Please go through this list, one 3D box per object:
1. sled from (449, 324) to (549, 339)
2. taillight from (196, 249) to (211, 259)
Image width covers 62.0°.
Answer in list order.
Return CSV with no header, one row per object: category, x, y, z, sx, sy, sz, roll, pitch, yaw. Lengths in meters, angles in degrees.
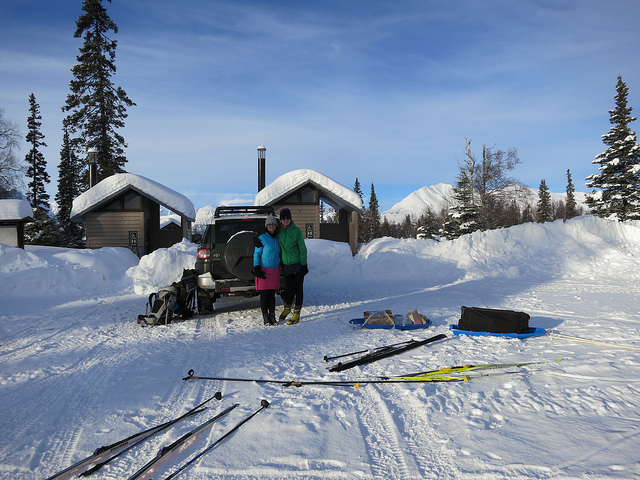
sled,3.277,1.705,9.792,1.749,0.128,0.495,1,5,10
taillight,-2.409,0.296,11.108,0.329,0.207,0.080,4,7,31
